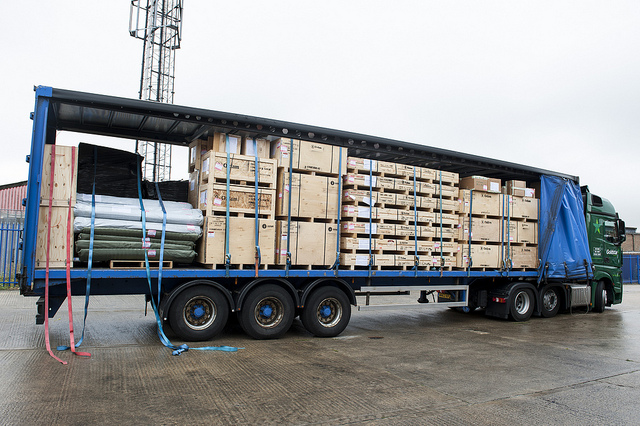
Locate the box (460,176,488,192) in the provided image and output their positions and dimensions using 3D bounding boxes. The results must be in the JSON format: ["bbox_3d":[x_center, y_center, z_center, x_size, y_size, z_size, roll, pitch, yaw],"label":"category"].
[{"bbox_3d":[4.384,-0.739,13.791,0.525,0.309,0.516,5,-3,-43],"label":"box"}]

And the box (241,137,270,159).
[{"bbox_3d":[-1.530,-1.480,11.519,0.797,0.537,0.427,5,-8,-37],"label":"box"}]

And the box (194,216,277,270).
[{"bbox_3d":[-2.012,0.741,11.377,2.006,1.312,1.136,5,-9,-26],"label":"box"}]

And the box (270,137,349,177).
[{"bbox_3d":[-0.086,-1.271,12.061,1.594,0.720,0.853,8,-5,1],"label":"box"}]

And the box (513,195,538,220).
[{"bbox_3d":[6.002,-0.106,14.619,1.077,0.690,0.609,0,2,-13],"label":"box"}]

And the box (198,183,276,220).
[{"bbox_3d":[-1.917,-0.274,11.524,1.609,0.646,1.080,4,4,-17],"label":"box"}]

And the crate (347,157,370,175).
[{"bbox_3d":[0.958,-1.183,12.204,0.462,0.115,0.479,4,-7,-26],"label":"crate"}]

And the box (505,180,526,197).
[{"bbox_3d":[5.792,-0.690,14.497,0.725,0.512,0.419,2,-3,-42],"label":"box"}]

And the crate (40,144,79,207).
[{"bbox_3d":[-5.567,-0.718,10.204,0.817,1.266,0.844,7,3,26],"label":"crate"}]

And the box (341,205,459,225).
[{"bbox_3d":[2.037,0.066,12.523,2.750,0.444,0.311,3,13,-26],"label":"box"}]

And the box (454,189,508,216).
[{"bbox_3d":[4.578,-0.248,14.111,1.342,0.590,0.717,6,-3,-15],"label":"box"}]

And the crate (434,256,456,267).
[{"bbox_3d":[3.367,1.297,13.155,0.815,0.283,0.125,1,2,-37],"label":"crate"}]

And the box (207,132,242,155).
[{"bbox_3d":[-2.243,-1.548,11.346,0.603,0.445,0.569,8,-7,-39],"label":"box"}]

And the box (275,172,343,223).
[{"bbox_3d":[-0.333,-0.314,12.011,1.564,1.071,0.857,2,-3,-23],"label":"box"}]

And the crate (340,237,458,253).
[{"bbox_3d":[2.051,0.822,12.227,2.651,0.415,0.273,2,2,-16],"label":"crate"}]

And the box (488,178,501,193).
[{"bbox_3d":[4.942,-0.750,13.925,0.478,0.326,0.254,1,3,-21],"label":"box"}]

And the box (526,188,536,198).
[{"bbox_3d":[6.277,-0.570,14.638,0.305,0.216,0.171,4,-12,-24],"label":"box"}]

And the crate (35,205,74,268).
[{"bbox_3d":[-5.675,0.412,10.057,0.931,1.335,0.874,3,-4,-39],"label":"crate"}]

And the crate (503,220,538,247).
[{"bbox_3d":[5.965,0.632,14.620,1.041,0.802,0.541,5,-13,-4],"label":"crate"}]

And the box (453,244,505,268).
[{"bbox_3d":[4.466,1.185,13.850,1.320,0.620,0.693,1,1,-9],"label":"box"}]

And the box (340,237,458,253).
[{"bbox_3d":[2.011,0.817,12.222,2.620,0.409,0.266,2,4,-15],"label":"box"}]

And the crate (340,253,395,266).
[{"bbox_3d":[1.178,1.152,12.202,1.462,0.315,0.261,1,1,-26],"label":"crate"}]

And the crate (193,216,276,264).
[{"bbox_3d":[-1.850,0.620,11.041,1.698,1.055,0.390,2,2,-9],"label":"crate"}]

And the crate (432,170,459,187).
[{"bbox_3d":[3.469,-0.907,13.238,0.647,0.267,0.444,2,-4,-36],"label":"crate"}]

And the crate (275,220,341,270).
[{"bbox_3d":[-0.380,0.723,12.047,1.946,1.443,1.027,2,-1,-20],"label":"crate"}]

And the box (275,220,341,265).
[{"bbox_3d":[-0.324,0.734,11.531,1.791,1.095,0.947,5,-8,-29],"label":"box"}]

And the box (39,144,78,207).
[{"bbox_3d":[-5.339,-0.749,10.016,0.633,1.238,0.283,1,2,-16],"label":"box"}]

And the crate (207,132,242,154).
[{"bbox_3d":[-2.262,-1.577,11.357,0.614,0.465,0.624,-2,-6,42],"label":"crate"}]

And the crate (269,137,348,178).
[{"bbox_3d":[-0.203,-1.270,12.028,1.553,0.711,0.789,9,-9,-9],"label":"crate"}]
